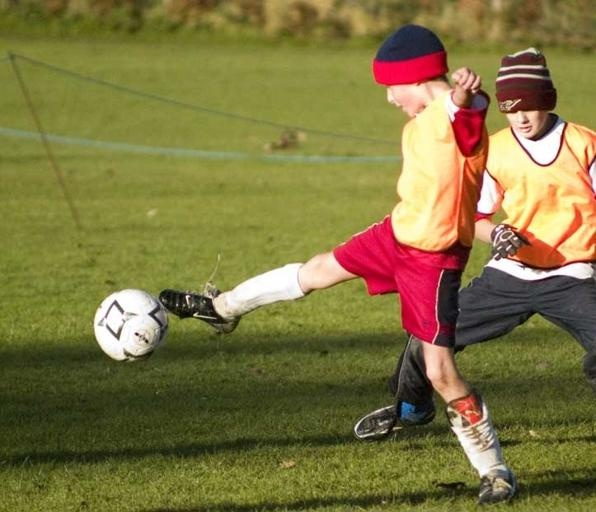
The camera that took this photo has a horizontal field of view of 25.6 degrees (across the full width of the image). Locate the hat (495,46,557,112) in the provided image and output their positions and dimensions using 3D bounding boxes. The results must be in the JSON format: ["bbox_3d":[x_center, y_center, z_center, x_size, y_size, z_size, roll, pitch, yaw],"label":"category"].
[{"bbox_3d":[1.317,-1.020,7.700,0.363,0.377,0.372,-3,2,-6],"label":"hat"}]

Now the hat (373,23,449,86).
[{"bbox_3d":[0.620,-1.108,7.320,0.361,0.280,0.363,-17,12,-3],"label":"hat"}]

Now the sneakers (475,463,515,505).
[{"bbox_3d":[1.085,1.259,7.223,0.198,0.165,0.153,-1,22,-1],"label":"sneakers"}]

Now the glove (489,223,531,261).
[{"bbox_3d":[1.186,-0.086,7.497,0.197,0.082,0.194,24,-29,-37],"label":"glove"}]

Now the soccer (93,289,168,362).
[{"bbox_3d":[-1.096,0.454,8.415,0.455,0.466,0.435,-2,-4,-10],"label":"soccer"}]
